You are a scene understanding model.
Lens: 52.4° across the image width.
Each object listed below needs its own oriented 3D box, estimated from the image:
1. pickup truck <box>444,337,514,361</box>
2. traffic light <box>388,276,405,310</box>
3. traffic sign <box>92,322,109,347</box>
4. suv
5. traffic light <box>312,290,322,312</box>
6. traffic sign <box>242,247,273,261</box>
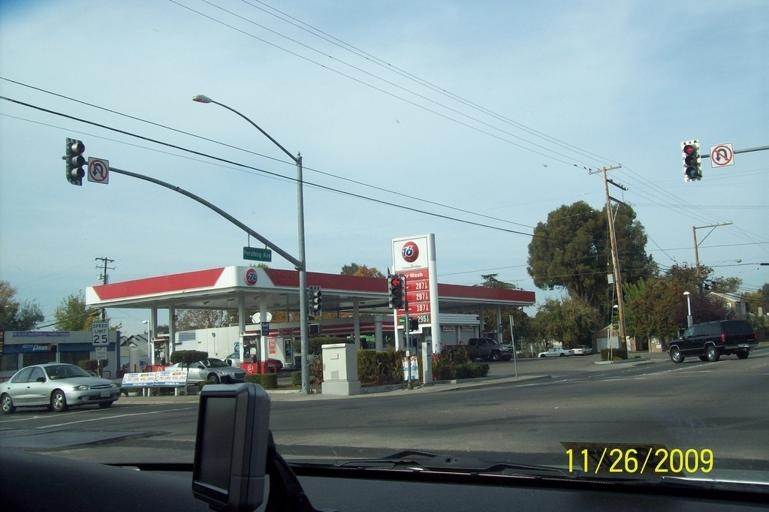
[{"bbox_3d":[7.659,6.859,58.134,3.314,1.880,1.661,-8,-10,31],"label":"pickup truck"},{"bbox_3d":[0.486,1.319,30.764,0.591,1.302,0.662,-3,-8,3],"label":"traffic light"},{"bbox_3d":[-12.238,3.297,33.685,0.614,0.983,0.524,3,-10,-32],"label":"traffic sign"},{"bbox_3d":[15.124,3.906,36.201,1.681,1.860,3.652,1,-10,-24],"label":"suv"},{"bbox_3d":[-2.851,1.807,32.393,0.221,0.926,0.421,-9,-11,40],"label":"traffic light"},{"bbox_3d":[-4.812,-0.064,29.663,0.333,0.456,1.241,-8,-11,34],"label":"traffic sign"}]
